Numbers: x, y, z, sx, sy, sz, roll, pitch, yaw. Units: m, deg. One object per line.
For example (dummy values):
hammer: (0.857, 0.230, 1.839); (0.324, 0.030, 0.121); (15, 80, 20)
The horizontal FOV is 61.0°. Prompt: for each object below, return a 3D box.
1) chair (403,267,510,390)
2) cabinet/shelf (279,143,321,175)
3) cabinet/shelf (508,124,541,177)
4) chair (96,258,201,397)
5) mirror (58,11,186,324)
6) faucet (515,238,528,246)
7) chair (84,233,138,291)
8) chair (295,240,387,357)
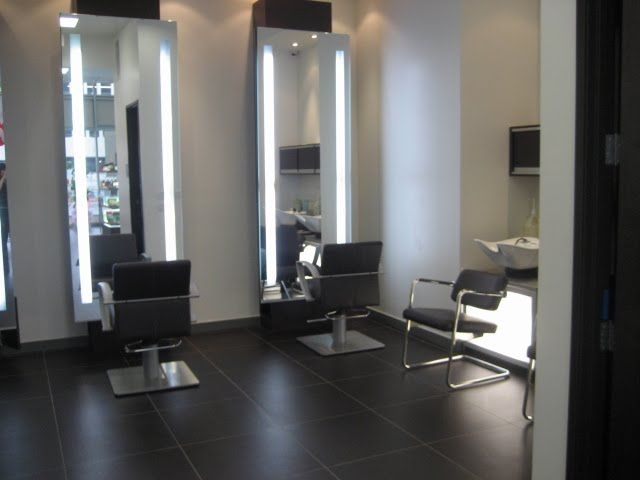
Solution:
chair: (1.220, 0.761, 4.879); (0.685, 0.992, 0.760); (-2, 5, -23)
cabinet/shelf: (-0.226, -0.897, 6.144); (0.424, 0.304, 0.258); (-1, 3, 9)
cabinet/shelf: (2.014, -0.885, 5.265); (0.220, 0.496, 0.323); (0, -3, 16)
chair: (-1.463, 0.687, 4.686); (0.728, 1.142, 0.641); (-4, 10, -31)
mirror: (-2.050, -0.743, 5.681); (1.141, 3.322, 0.102); (-5, 32, -24)
faucet: (1.845, 0.017, 4.981); (0.072, 0.074, 0.060); (-1, 6, 6)
chair: (-2.113, 0.200, 5.558); (0.483, 0.617, 0.530); (-1, 2, -25)
chair: (0.187, 0.527, 5.606); (0.805, 1.160, 0.806); (-7, 13, -35)
